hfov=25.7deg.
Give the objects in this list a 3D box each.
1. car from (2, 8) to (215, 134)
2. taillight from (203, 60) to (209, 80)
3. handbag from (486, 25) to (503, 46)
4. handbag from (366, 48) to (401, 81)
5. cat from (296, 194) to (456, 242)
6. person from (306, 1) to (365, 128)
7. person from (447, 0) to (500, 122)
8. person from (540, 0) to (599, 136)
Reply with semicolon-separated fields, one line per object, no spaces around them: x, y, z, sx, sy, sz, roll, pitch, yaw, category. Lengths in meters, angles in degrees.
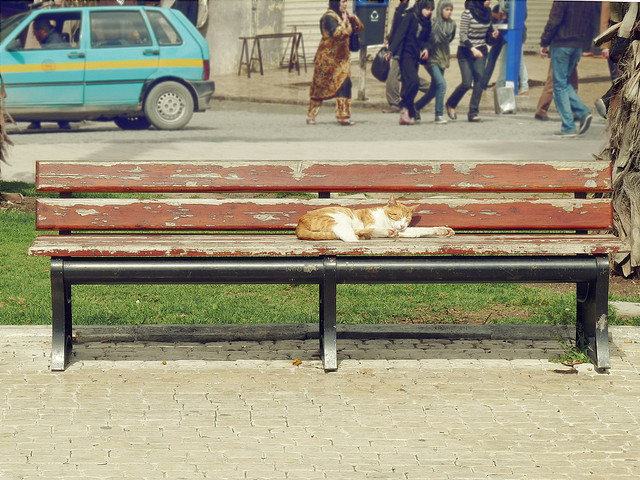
-2.980;-2.429;19.757;2.946;1.105;1.521;0;4;-7;car
-1.607;-2.371;19.418;0.053;0.263;0.137;10;21;30;taillight
2.323;-2.750;18.976;0.273;0.225;0.173;4;12;34;handbag
0.874;-2.409;19.118;0.318;0.395;0.226;35;10;14;handbag
0.411;-0.128;12.070;1.108;0.335;0.527;-2;-5;0;cat
0.194;-2.395;18.983;0.798;1.699;0.267;-1;18;2;person
2.141;-2.446;19.044;0.556;1.646;0.180;1;18;7;person
3.344;-2.305;18.891;0.720;1.836;0.359;1;18;7;person
